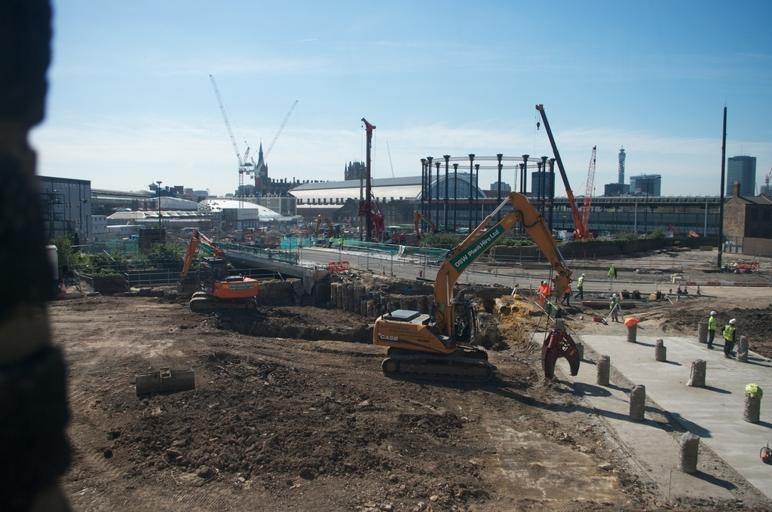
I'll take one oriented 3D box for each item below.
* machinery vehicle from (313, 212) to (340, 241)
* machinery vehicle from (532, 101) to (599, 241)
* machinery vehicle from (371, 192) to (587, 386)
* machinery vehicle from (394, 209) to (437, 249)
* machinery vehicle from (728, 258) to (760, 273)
[{"bbox_3d":[-9.398,-4.712,107.236,2.496,1.905,59.828,-2,6,-5],"label":"machinery vehicle"},{"bbox_3d":[19.162,-7.786,72.205,6.464,19.297,4.662,19,55,33],"label":"machinery vehicle"},{"bbox_3d":[2.793,1.175,26.771,6.717,7.132,2.507,-2,6,-1],"label":"machinery vehicle"},{"bbox_3d":[2.977,-3.181,75.296,4.511,4.141,1.630,4,8,22],"label":"machinery vehicle"},{"bbox_3d":[27.924,0.818,53.698,1.706,0.871,1.075,0,5,3],"label":"machinery vehicle"}]
